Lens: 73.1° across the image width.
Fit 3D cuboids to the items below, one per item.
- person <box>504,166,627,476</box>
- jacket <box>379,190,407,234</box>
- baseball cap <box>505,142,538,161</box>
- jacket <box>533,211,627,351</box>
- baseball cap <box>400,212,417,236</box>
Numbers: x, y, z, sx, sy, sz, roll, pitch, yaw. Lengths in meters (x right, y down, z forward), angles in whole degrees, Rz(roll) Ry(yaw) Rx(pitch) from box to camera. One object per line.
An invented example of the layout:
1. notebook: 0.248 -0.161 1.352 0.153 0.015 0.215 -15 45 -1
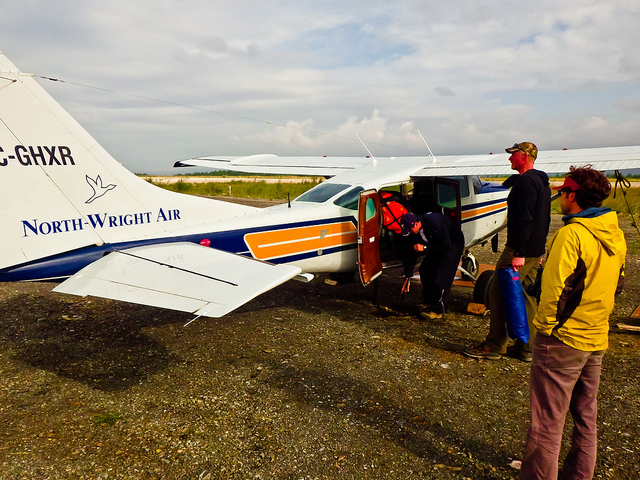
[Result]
1. person: 1.921 0.737 3.312 0.504 2.513 0.900 5 17 32
2. jacket: 1.119 -0.341 6.688 0.276 0.725 0.502 -15 55 16
3. baseball cap: 2.335 -1.042 5.081 0.312 0.188 0.500 2 13 22
4. jacket: 1.932 0.309 3.266 0.493 1.009 0.509 5 16 31
5. baseball cap: 1.203 -0.218 5.970 0.226 0.301 0.244 0 14 12
